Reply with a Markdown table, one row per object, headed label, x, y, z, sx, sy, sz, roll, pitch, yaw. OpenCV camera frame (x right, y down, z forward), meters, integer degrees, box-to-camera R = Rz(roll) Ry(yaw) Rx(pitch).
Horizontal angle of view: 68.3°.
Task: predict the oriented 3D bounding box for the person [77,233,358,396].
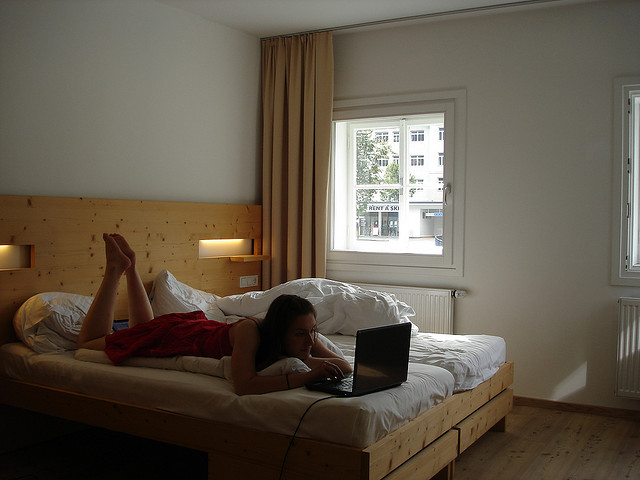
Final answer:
| label | x | y | z | sx | sy | sz | roll | pitch | yaw |
| --- | --- | --- | --- | --- | --- | --- | --- | --- | --- |
| person | -0.735 | 0.366 | 2.769 | 1.917 | 0.851 | 0.701 | -3 | -1 | 24 |

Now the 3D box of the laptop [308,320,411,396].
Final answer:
| label | x | y | z | sx | sy | sz | roll | pitch | yaw |
| --- | --- | --- | --- | --- | --- | --- | --- | --- | --- |
| laptop | 0.187 | 0.538 | 2.246 | 0.312 | 0.314 | 0.438 | 1 | -4 | 42 |

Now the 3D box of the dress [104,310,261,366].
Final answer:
| label | x | y | z | sx | sy | sz | roll | pitch | yaw |
| --- | --- | --- | --- | --- | --- | --- | --- | --- | --- |
| dress | -0.820 | 0.552 | 2.645 | 0.804 | 0.206 | 0.321 | 1 | 0 | 10 |

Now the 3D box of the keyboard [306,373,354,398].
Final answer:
| label | x | y | z | sx | sy | sz | roll | pitch | yaw |
| --- | --- | --- | --- | --- | --- | --- | --- | --- | --- |
| keyboard | 0.082 | 0.648 | 2.145 | 0.240 | 0.073 | 0.179 | 1 | 0 | 35 |
